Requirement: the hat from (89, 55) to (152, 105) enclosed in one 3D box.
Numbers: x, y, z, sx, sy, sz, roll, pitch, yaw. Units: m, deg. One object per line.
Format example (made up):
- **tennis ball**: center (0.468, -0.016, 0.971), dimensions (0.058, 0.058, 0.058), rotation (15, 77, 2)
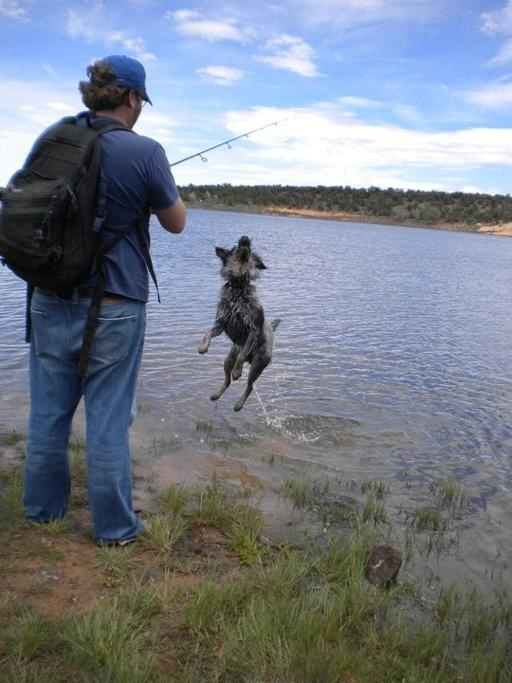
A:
- **hat**: center (-0.796, -1.538, 3.227), dimensions (0.329, 0.197, 0.287), rotation (2, 13, -12)
